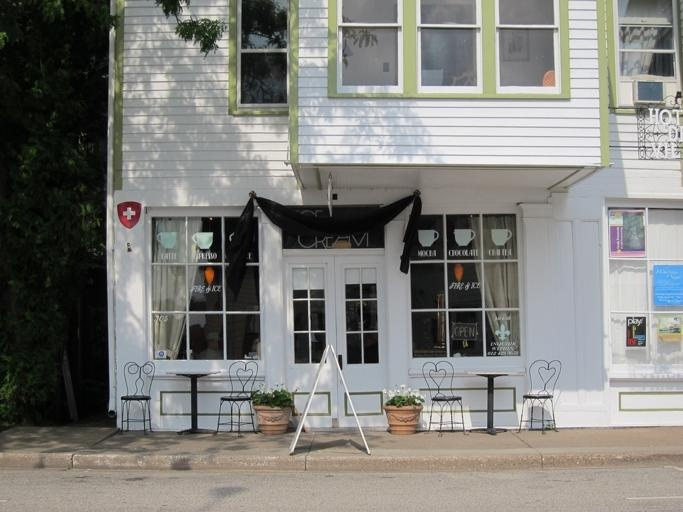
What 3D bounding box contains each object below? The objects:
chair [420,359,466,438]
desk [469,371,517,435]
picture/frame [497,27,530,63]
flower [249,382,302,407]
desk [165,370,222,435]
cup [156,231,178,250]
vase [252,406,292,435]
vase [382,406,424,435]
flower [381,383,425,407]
[{"bbox_3d":[1.900,2.531,21.766,0.671,1.362,0.693,-8,-8,44],"label":"chair"},{"bbox_3d":[2.706,2.575,21.525,0.719,1.056,0.782,3,-8,-6],"label":"desk"},{"bbox_3d":[3.046,-3.748,21.062,0.536,0.614,0.023,0,-3,-2],"label":"picture/frame"},{"bbox_3d":[-1.252,2.517,21.638,0.445,0.287,0.511,-1,-2,32],"label":"flower"},{"bbox_3d":[-2.679,2.619,21.673,0.801,1.052,0.905,-2,-9,9],"label":"desk"},{"bbox_3d":[-3.285,-0.330,22.228,0.326,0.300,0.277,-1,-1,-8],"label":"cup"},{"bbox_3d":[-1.238,2.909,21.546,0.508,0.372,0.523,2,-13,-9],"label":"vase"},{"bbox_3d":[1.123,2.892,21.478,0.507,0.389,0.540,4,-13,-17],"label":"vase"},{"bbox_3d":[1.155,2.504,21.670,0.443,0.232,0.453,3,4,35],"label":"flower"}]
